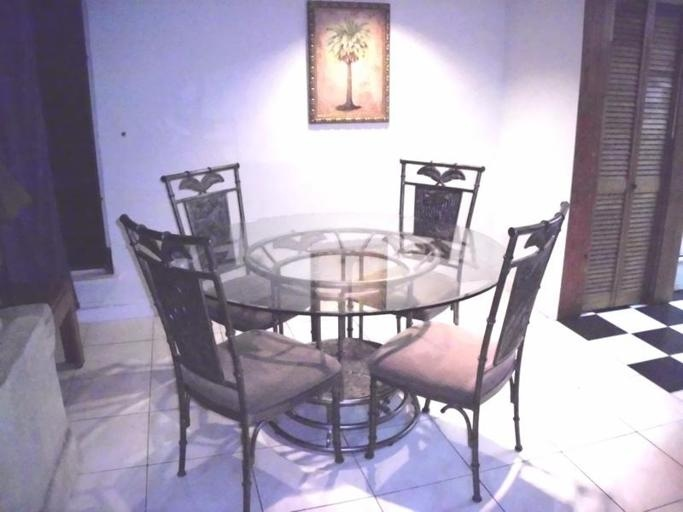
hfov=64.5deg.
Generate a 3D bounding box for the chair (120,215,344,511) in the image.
[{"bbox_3d":[-0.530,0.578,2.723,0.767,1.517,0.953,21,32,36],"label":"chair"}]

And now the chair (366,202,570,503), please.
[{"bbox_3d":[0.655,0.550,2.866,1.050,1.771,0.878,16,27,36],"label":"chair"}]
